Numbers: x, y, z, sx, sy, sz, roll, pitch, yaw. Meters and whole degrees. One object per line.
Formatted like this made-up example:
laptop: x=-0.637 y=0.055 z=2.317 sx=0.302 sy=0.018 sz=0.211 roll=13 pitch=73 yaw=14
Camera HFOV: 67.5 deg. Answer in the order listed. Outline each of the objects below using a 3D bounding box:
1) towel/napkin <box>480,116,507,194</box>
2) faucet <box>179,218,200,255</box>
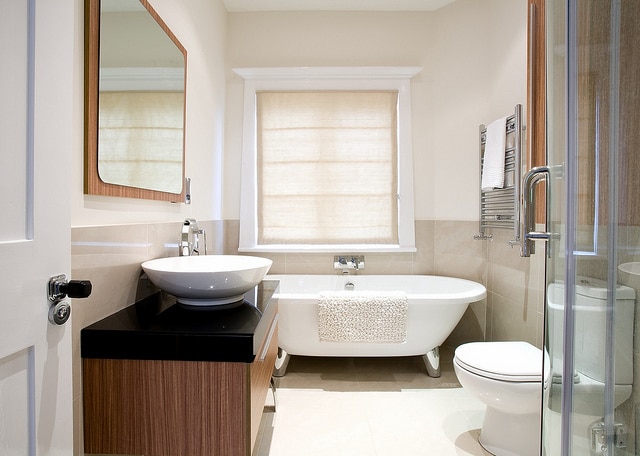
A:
towel/napkin: x=1.182 y=-0.495 z=3.240 sx=0.148 sy=0.501 sz=0.262 roll=4 pitch=12 yaw=21
faucet: x=-0.733 y=0.048 z=2.695 sx=0.109 sy=0.218 sz=0.342 roll=-2 pitch=11 yaw=-13
